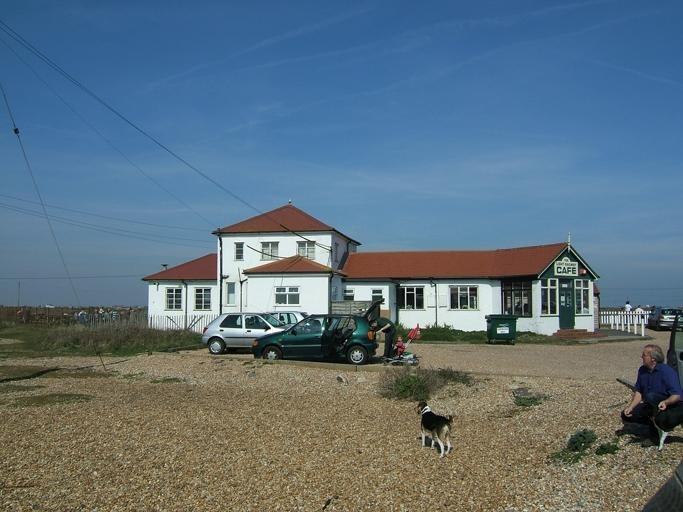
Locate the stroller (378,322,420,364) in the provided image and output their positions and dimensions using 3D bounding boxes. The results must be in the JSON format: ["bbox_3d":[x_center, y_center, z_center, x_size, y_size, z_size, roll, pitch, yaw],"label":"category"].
[{"bbox_3d":[1.924,2.911,19.959,1.497,1.407,1.032,0,2,6],"label":"stroller"}]

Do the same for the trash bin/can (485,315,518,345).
[{"bbox_3d":[8.094,3.744,30.390,1.334,1.490,1.615,0,-12,2],"label":"trash bin/can"}]

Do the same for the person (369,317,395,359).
[{"bbox_3d":[1.445,2.759,20.195,0.717,1.413,1.490,0,0,3],"label":"person"}]

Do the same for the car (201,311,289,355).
[{"bbox_3d":[-3.910,2.988,23.163,2.930,1.230,1.524,-3,-3,2],"label":"car"}]
